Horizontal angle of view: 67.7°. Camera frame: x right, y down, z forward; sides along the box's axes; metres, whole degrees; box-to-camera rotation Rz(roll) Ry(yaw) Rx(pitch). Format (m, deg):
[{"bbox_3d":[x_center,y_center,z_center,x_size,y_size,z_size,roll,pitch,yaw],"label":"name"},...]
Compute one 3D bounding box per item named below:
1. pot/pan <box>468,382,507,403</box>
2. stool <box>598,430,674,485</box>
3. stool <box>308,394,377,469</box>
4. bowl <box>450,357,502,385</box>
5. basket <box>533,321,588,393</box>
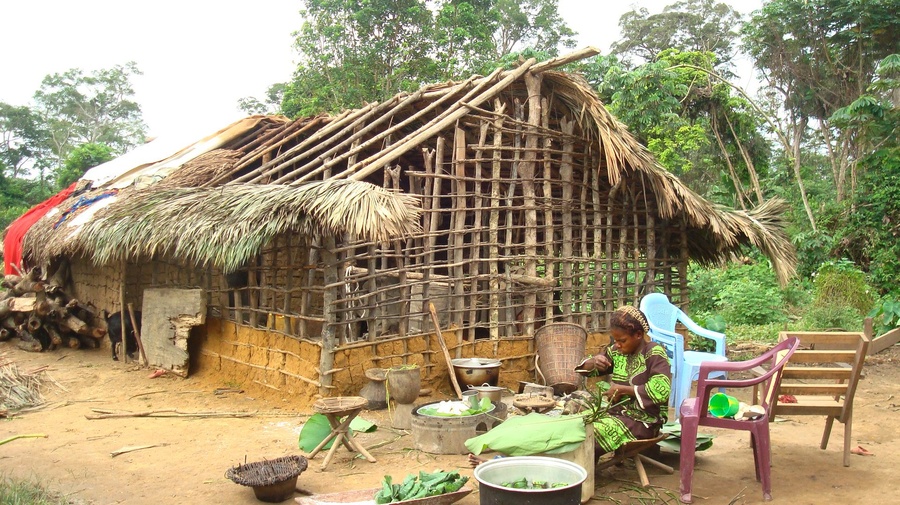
[{"bbox_3d":[0.732,2.570,12.347,0.521,0.198,0.392,0,-4,5],"label":"pot/pan"},{"bbox_3d":[2.926,3.182,10.871,0.842,0.845,0.879,19,-26,8],"label":"stool"},{"bbox_3d":[-1.754,3.044,11.699,1.255,1.141,1.169,2,-11,-29],"label":"stool"},{"bbox_3d":[0.540,2.289,13.120,0.704,0.381,0.686,0,-7,0],"label":"bowl"},{"bbox_3d":[2.191,2.285,13.975,1.435,1.231,1.301,-7,-35,12],"label":"basket"}]
